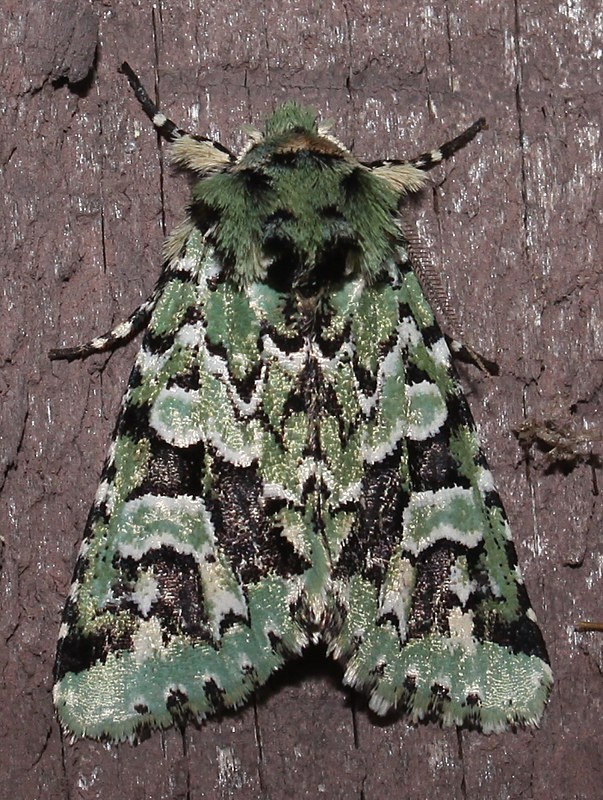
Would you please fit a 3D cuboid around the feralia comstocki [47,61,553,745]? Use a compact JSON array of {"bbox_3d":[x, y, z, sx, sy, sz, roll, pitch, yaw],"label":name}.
[{"bbox_3d":[-0.042,0.038,2.219,0.656,0.278,1.211,-1,88,-4],"label":"feralia comstocki"}]
